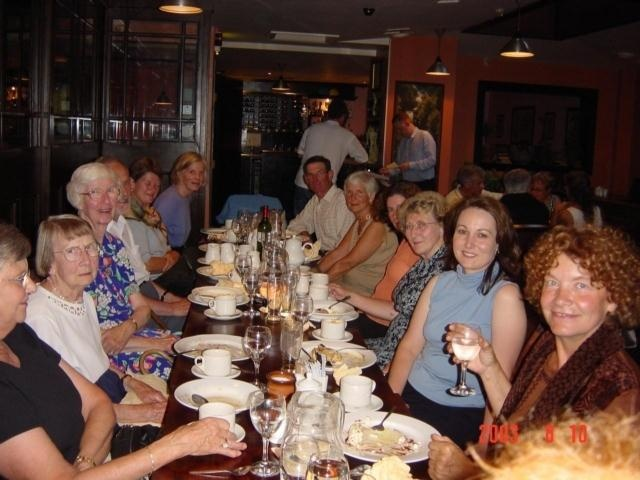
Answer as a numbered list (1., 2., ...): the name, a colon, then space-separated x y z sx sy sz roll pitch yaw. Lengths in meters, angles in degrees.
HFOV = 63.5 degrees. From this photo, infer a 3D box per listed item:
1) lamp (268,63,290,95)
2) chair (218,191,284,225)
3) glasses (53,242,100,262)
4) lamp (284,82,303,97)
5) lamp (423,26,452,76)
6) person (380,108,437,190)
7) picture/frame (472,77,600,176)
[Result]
1. lamp: -0.954 -3.901 12.412 0.510 0.642 0.574 8 12 34
2. chair: -0.823 -0.391 5.390 0.398 0.222 0.569 1 -3 1
3. glasses: -0.972 0.047 2.100 0.077 0.074 0.175 11 13 38
4. lamp: -0.684 -3.813 13.083 0.384 0.437 0.430 -3 23 0
5. lamp: 1.739 -2.750 7.614 0.347 0.691 1.156 5 11 13
6. person: 1.418 -1.194 8.142 0.888 1.529 0.601 4 12 44
7. picture/frame: 4.044 -2.186 9.653 2.336 1.711 0.198 2 10 0
